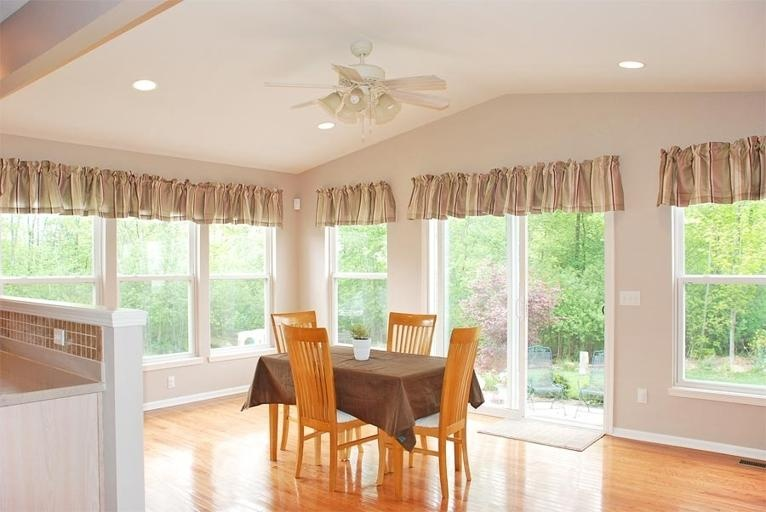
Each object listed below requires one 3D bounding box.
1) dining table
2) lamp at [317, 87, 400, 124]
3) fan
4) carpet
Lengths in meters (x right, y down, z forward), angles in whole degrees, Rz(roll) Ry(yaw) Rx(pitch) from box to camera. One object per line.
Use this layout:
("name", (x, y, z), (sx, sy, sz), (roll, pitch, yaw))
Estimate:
("dining table", (-0.125, 1.410, 5.238), (1.863, 0.832, 1.387), (-2, -2, 43))
("lamp", (-0.205, -1.199, 4.650), (0.392, 0.113, 0.368), (5, -9, -12))
("fan", (-0.024, -1.351, 4.599), (1.069, 0.469, 1.031), (4, -6, -26))
("carpet", (1.651, 1.846, 6.011), (1.202, 0.054, 0.716), (3, 6, 30))
